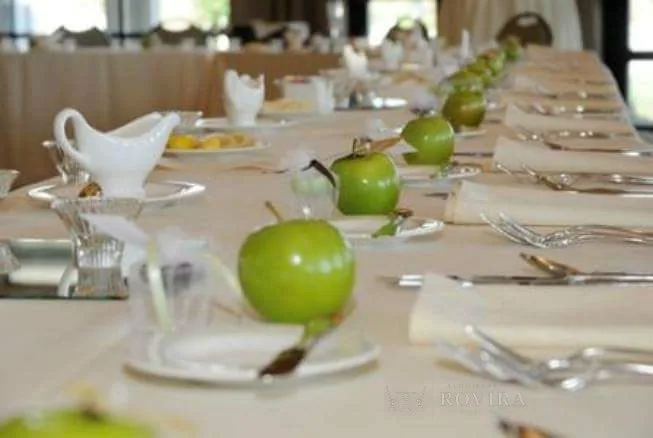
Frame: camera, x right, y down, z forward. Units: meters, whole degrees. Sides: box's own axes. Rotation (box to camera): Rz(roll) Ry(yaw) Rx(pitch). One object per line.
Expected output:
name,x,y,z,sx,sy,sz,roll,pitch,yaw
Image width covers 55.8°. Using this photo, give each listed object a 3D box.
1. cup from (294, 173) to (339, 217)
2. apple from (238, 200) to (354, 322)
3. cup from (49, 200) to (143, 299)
cup,-0.011,-0.021,0.566,0.030,0.044,0.048,-7,-10,19
apple,-0.023,0.037,0.435,0.082,0.073,0.078,-4,9,-35
cup,-0.158,0.022,0.475,0.075,0.069,0.075,0,-1,0
